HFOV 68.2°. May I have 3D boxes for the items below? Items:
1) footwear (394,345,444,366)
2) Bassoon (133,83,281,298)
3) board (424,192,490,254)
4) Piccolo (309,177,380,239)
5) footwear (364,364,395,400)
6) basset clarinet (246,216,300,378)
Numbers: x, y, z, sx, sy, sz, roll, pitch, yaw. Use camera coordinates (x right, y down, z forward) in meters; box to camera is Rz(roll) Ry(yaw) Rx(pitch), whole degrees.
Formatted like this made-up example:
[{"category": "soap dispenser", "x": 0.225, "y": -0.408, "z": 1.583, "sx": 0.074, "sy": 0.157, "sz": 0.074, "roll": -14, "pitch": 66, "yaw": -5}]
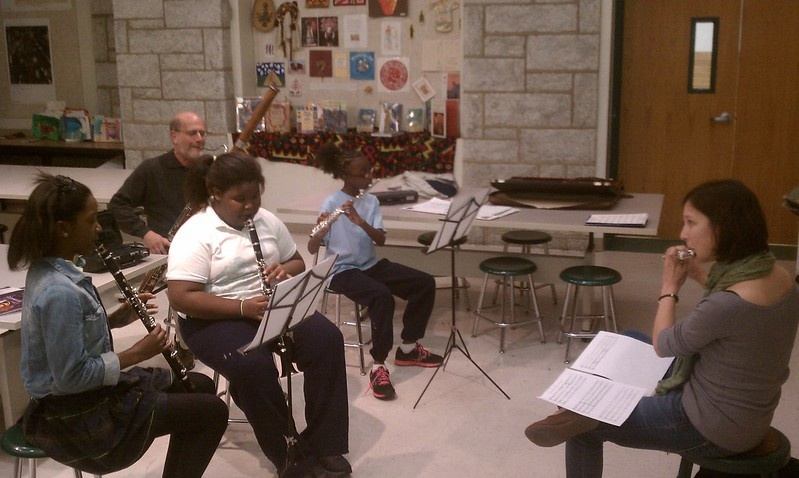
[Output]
[{"category": "footwear", "x": 0.168, "y": 0.925, "z": 4.759, "sx": 0.371, "sy": 0.152, "sz": 0.164, "roll": 0, "pitch": 9, "yaw": 0}, {"category": "Bassoon", "x": -1.731, "y": -0.272, "z": 5.478, "sx": 0.525, "sy": 2.778, "sz": 0.376, "roll": 32, "pitch": -1, "yaw": -31}, {"category": "board", "x": 0.449, "y": -0.143, "z": 4.311, "sx": 0.281, "sy": 0.428, "sz": 0.534, "roll": 7, "pitch": 13, "yaw": 29}, {"category": "Piccolo", "x": -0.426, "y": -0.205, "z": 4.398, "sx": 0.065, "sy": 0.066, "sz": 0.494, "roll": -23, "pitch": 20, "yaw": 44}, {"category": "footwear", "x": -0.124, "y": 1.073, "z": 4.463, "sx": 0.199, "sy": 0.210, "sz": 0.252, "roll": 0, "pitch": 11, "yaw": -3}, {"category": "basset clarinet", "x": -0.767, "y": 0.300, "z": 3.467, "sx": 0.217, "sy": 1.184, "sz": 0.208, "roll": -10, "pitch": -28, "yaw": -17}]
